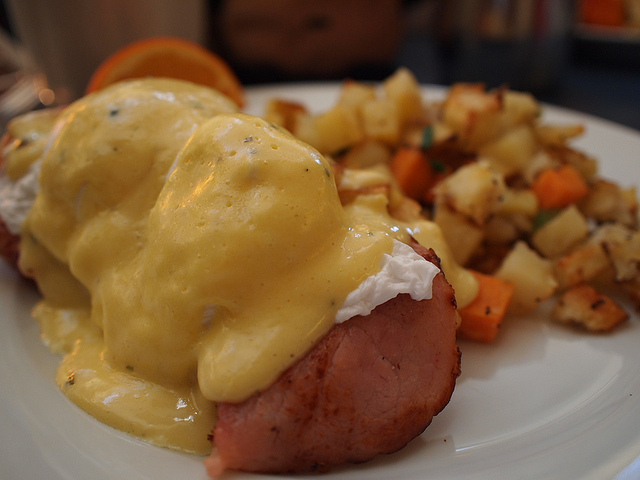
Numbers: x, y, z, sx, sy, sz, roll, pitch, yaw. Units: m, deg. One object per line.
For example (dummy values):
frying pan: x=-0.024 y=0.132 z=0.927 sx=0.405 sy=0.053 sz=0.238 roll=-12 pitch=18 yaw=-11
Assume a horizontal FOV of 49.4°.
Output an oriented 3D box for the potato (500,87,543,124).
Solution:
potato: x=0.738 y=-0.534 z=2.659 sx=0.181 sy=0.093 sz=0.242 roll=7 pitch=16 yaw=33

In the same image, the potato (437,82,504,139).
potato: x=0.588 y=-0.535 z=2.682 sx=0.239 sy=0.076 sz=0.191 roll=-46 pitch=42 yaw=3

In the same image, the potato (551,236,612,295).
potato: x=0.862 y=0.085 z=2.340 sx=0.186 sy=0.049 sz=0.150 roll=-35 pitch=59 yaw=34

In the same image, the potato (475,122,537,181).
potato: x=0.678 y=-0.323 z=2.519 sx=0.076 sy=0.166 sz=0.199 roll=46 pitch=60 yaw=-9

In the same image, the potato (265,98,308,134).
potato: x=-0.171 y=-0.546 z=3.197 sx=0.180 sy=0.062 sz=0.177 roll=23 pitch=54 yaw=-7

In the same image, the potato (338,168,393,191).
potato: x=0.154 y=-0.209 z=2.434 sx=0.116 sy=0.040 sz=0.127 roll=3 pitch=18 yaw=3
